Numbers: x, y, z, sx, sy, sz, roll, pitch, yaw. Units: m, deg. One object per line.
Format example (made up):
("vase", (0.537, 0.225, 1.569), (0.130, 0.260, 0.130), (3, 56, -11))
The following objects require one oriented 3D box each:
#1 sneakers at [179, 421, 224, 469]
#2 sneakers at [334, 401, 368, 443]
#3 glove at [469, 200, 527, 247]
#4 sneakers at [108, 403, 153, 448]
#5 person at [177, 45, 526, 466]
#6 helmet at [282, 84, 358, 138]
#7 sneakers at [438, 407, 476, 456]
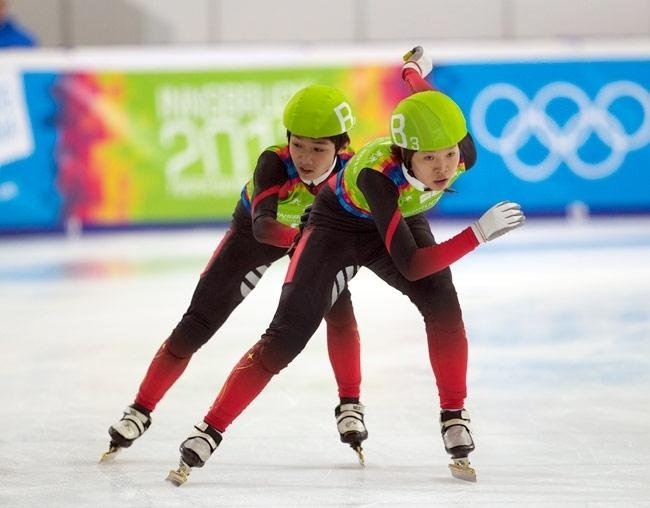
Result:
("sneakers", (-0.545, 0.836, 3.750), (0.155, 0.211, 0.087), (47, -12, 7))
("sneakers", (0.124, 0.787, 4.166), (0.159, 0.105, 0.253), (-4, 39, 2))
("glove", (0.774, -0.140, 3.753), (0.387, 0.078, 0.192), (8, 26, -19))
("sneakers", (-0.942, 0.841, 4.090), (0.155, 0.084, 0.235), (-7, 13, 16))
("person", (0.235, 0.090, 3.962), (1.325, 1.661, 0.872), (0, 13, 10))
("helmet", (-0.044, -0.725, 4.138), (0.375, 0.215, 0.450), (14, 21, 1))
("sneakers", (0.594, 0.797, 3.863), (0.152, 0.084, 0.226), (-3, 34, 12))
